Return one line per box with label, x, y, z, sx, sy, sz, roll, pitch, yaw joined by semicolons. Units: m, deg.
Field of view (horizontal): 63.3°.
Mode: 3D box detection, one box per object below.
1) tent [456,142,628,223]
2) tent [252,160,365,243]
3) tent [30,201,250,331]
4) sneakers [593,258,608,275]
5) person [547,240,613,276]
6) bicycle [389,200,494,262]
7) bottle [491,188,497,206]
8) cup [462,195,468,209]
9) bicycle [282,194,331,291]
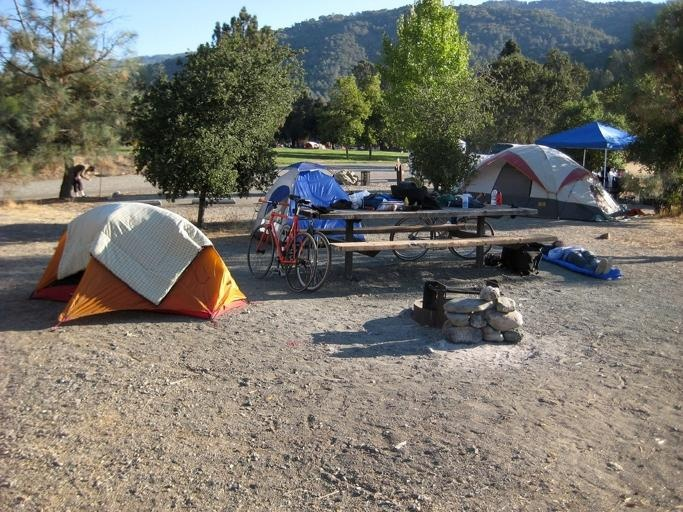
tent;6.370;-2.869;18.498;4.740;1.561;3.373;15;16;43
tent;-0.753;-1.281;13.044;2.573;1.431;1.921;-2;6;-13
tent;-2.764;0.136;8.332;2.344;0.966;2.009;5;-3;-41
sneakers;4.808;0.206;10.270;0.209;0.307;0.213;15;-3;10
person;4.655;0.021;10.865;0.534;0.280;1.119;-9;13;-9
bicycle;2.377;-0.557;12.174;2.520;1.347;1.153;-1;19;-2
bottle;3.166;-1.226;11.536;0.087;0.323;0.461;1;15;14
cup;2.457;-1.091;10.995;0.132;0.249;0.223;1;15;13
bicycle;-0.753;-0.184;9.809;1.112;1.234;2.204;-7;3;-11
